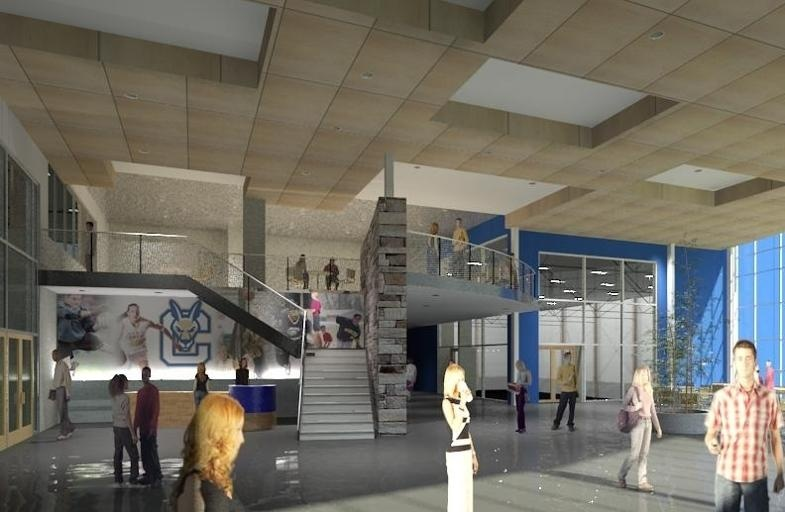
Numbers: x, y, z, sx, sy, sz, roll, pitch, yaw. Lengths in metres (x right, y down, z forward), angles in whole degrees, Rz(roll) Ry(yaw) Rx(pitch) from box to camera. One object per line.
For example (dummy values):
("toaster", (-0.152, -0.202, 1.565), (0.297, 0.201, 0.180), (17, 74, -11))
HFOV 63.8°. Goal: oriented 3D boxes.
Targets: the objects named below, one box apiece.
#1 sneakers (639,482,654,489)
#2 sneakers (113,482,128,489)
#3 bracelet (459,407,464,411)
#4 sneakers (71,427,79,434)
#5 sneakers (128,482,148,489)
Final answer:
("sneakers", (4.815, 4.316, 11.873), (0.246, 0.103, 0.113), (0, -4, -3))
("sneakers", (-5.135, 4.290, 11.879), (0.253, 0.092, 0.398), (10, -15, -22))
("bracelet", (1.062, 2.301, 9.550), (0.066, 0.049, 0.067), (0, -5, -3))
("sneakers", (-8.957, 4.894, 17.757), (0.190, 0.256, 0.344), (1, -8, -18))
("sneakers", (-4.817, 4.301, 11.842), (0.391, 0.155, 0.132), (0, -9, -2))
